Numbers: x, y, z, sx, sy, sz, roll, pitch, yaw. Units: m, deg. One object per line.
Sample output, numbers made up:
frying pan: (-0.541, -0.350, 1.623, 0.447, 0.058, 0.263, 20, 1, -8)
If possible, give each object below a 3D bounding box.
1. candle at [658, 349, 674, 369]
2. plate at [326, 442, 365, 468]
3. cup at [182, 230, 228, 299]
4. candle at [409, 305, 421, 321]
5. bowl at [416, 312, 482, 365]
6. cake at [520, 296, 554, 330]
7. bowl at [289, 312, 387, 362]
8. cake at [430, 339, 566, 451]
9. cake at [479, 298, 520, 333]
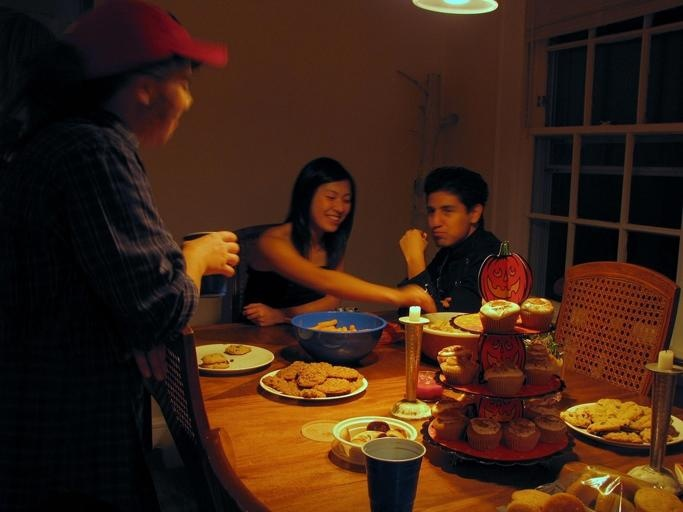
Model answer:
candle: (0.596, 0.187, 0.983, 0.023, 0.035, 0.047, 7, 16, 30)
plate: (0.012, 0.438, 1.174, 0.051, 0.010, 0.052, 2, 11, 16)
cup: (-0.428, 0.025, 1.730, 0.209, 0.213, 0.210, 0, 4, 0)
candle: (0.182, 0.141, 1.324, 0.035, 0.039, 0.035, 1, -9, -6)
bowl: (0.328, 0.239, 1.634, 0.181, 0.076, 0.182, 0, 4, 0)
cake: (0.448, 0.122, 1.213, 0.069, 0.063, 0.069, -9, 16, -16)
bowl: (-0.010, 0.261, 1.707, 0.207, 0.080, 0.207, 0, 0, 0)
cake: (0.352, 0.316, 1.173, 0.238, 0.088, 0.240, 1, 11, 12)
cake: (0.337, 0.130, 1.142, 0.069, 0.044, 0.075, 0, 6, 11)
